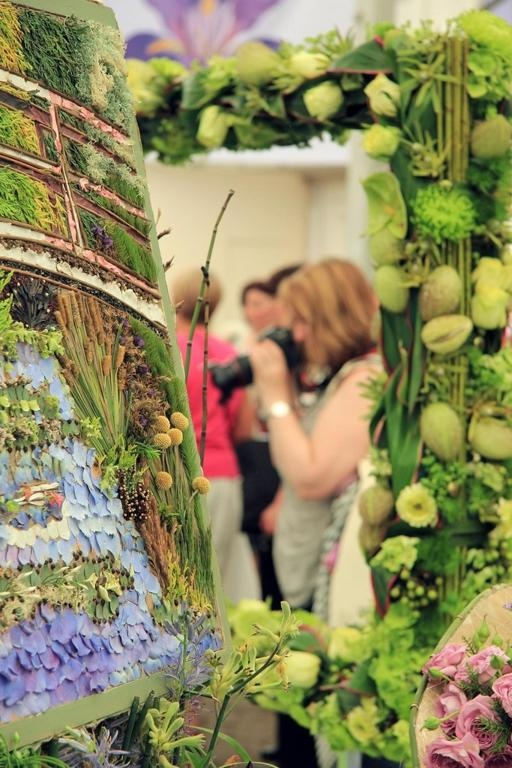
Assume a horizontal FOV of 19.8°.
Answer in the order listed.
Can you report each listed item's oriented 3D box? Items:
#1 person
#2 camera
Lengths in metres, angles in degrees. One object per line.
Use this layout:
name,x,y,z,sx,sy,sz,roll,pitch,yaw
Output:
person,0.101,0.146,2.884,0.416,0.779,0.208,-2,18,35
camera,0.036,-0.015,3.193,0.170,0.133,0.358,0,-24,19
